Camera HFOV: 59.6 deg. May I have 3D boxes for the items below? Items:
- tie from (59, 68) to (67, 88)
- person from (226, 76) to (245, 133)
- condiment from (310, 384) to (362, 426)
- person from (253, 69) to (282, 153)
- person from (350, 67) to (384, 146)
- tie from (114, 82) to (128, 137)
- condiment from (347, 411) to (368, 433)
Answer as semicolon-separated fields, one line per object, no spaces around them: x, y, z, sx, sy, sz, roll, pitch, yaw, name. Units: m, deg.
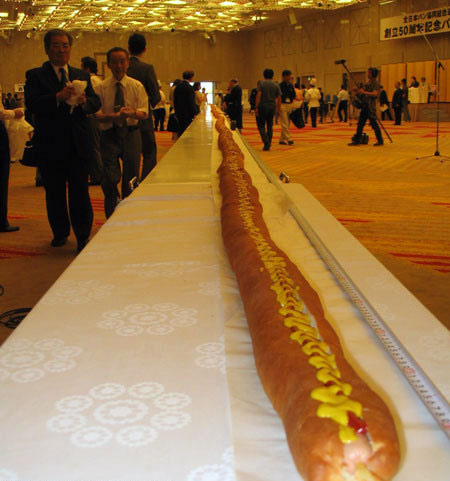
-1.221;-1.228;2.967;0.025;0.112;0.065;-4;0;30;tie
0.282;-3.998;11.888;0.461;1.634;0.415;-1;22;-12;person
0.118;0.171;0.414;0.036;0.023;0.037;2;15;6;condiment
0.975;-2.999;9.082;0.553;1.837;0.544;0;4;-19;person
3.311;-3.099;9.164;0.681;1.711;0.627;6;18;28;person
-0.878;-1.084;3.253;0.099;0.443;0.283;-6;15;-14;tie
0.129;0.183;0.394;0.021;0.010;0.023;-13;19;-35;condiment
